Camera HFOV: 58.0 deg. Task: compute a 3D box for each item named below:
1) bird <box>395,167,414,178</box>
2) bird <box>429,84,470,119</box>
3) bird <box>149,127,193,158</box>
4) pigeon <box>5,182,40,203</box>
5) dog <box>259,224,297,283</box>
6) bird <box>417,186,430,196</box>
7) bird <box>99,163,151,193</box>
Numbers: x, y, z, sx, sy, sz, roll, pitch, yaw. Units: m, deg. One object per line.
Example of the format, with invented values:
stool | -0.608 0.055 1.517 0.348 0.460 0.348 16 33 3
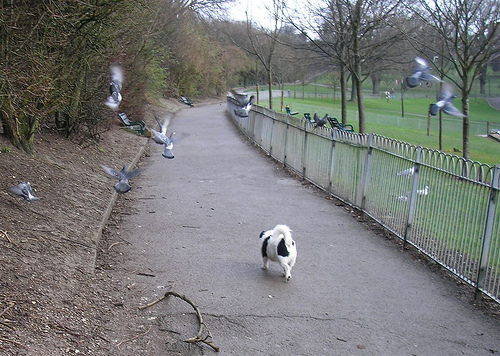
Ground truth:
bird | 3.660 -0.129 10.684 0.226 0.334 0.840 -3 3 -7
bird | 5.275 -2.096 12.337 0.797 0.487 1.213 18 1 35
bird | -2.426 -1.048 13.054 0.682 0.344 0.593 -29 11 -27
pigeon | -4.359 0.281 8.658 0.433 0.430 0.206 -4 -7 -27
dog | 0.565 1.369 8.746 0.521 1.168 0.780 -2 15 -20
bird | 3.837 0.316 10.058 0.198 0.204 0.112 8 17 28
bird | -2.801 -0.003 10.015 1.227 0.440 0.813 0 27 -11
